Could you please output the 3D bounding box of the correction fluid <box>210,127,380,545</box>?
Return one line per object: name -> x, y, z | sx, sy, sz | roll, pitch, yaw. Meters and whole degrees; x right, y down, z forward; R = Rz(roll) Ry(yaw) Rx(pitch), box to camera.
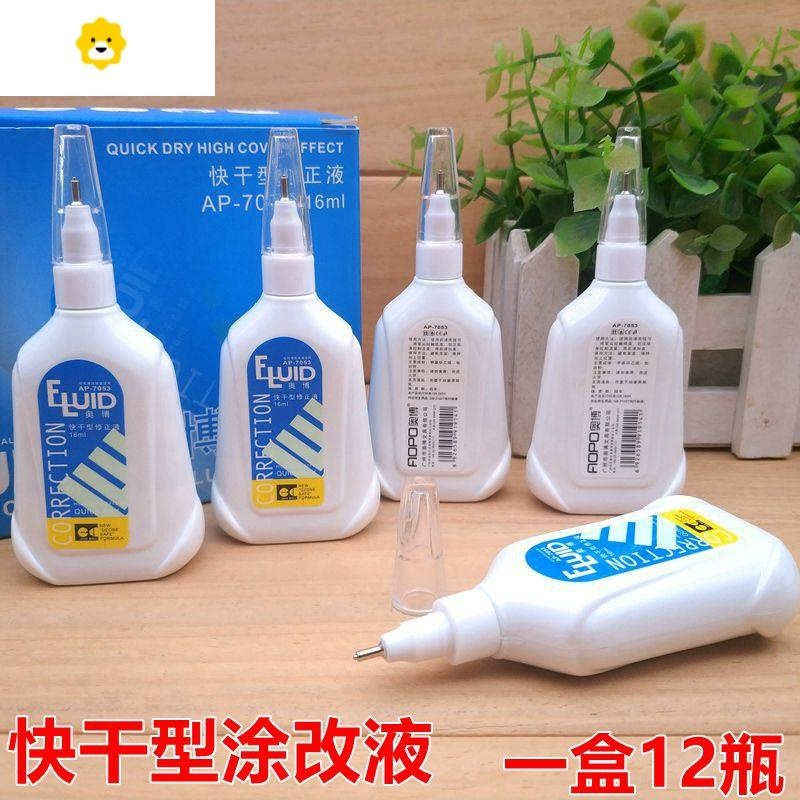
correction fluid -> -0.073, -0.036, 0.652 | 0.069, 0.268, 0.088 | 13, 21, 43
